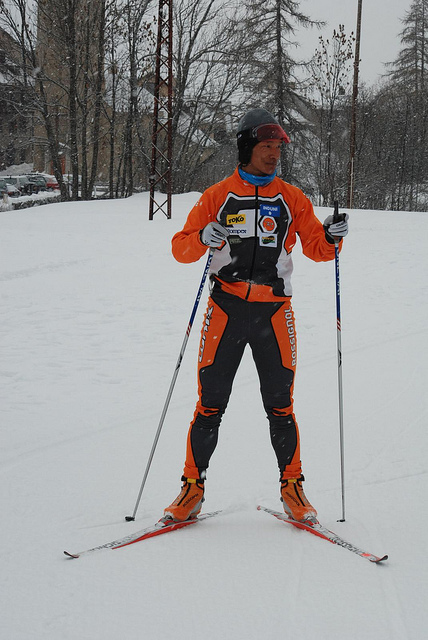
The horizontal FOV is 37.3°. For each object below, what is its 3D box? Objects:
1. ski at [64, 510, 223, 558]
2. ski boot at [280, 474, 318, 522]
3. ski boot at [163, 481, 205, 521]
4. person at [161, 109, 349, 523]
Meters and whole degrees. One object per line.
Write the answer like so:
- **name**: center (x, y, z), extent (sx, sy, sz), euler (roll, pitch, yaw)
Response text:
- **ski**: center (-0.307, 0.961, 2.837), extent (0.621, 0.030, 0.067), euler (-9, 6, -38)
- **ski boot**: center (0.387, 0.817, 2.975), extent (0.114, 0.212, 0.302), euler (-6, -1, -12)
- **ski boot**: center (-0.146, 0.831, 2.976), extent (0.100, 0.207, 0.283), euler (3, -2, 29)
- **person**: center (0.190, 0.006, 2.996), extent (0.816, 2.003, 0.459), euler (1, 6, 4)
